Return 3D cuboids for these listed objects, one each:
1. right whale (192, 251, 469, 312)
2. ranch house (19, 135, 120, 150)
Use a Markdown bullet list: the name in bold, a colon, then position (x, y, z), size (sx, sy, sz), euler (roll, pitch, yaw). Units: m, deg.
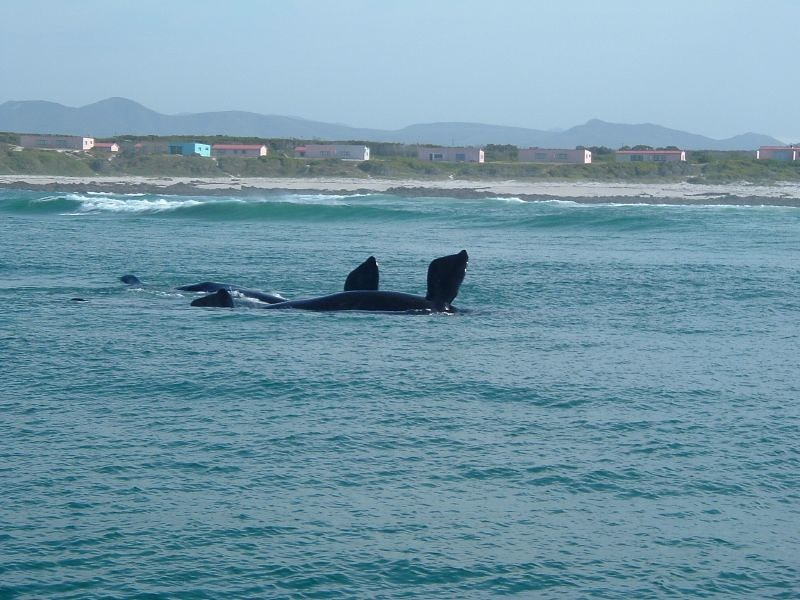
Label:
- **right whale**: position (-1.073, -0.410, 23.402), size (3.933, 0.857, 1.675), euler (3, -2, 9)
- **ranch house**: position (-37.089, -17.487, 147.142), size (9.952, 1.402, 8.115), euler (-1, 7, -14)
